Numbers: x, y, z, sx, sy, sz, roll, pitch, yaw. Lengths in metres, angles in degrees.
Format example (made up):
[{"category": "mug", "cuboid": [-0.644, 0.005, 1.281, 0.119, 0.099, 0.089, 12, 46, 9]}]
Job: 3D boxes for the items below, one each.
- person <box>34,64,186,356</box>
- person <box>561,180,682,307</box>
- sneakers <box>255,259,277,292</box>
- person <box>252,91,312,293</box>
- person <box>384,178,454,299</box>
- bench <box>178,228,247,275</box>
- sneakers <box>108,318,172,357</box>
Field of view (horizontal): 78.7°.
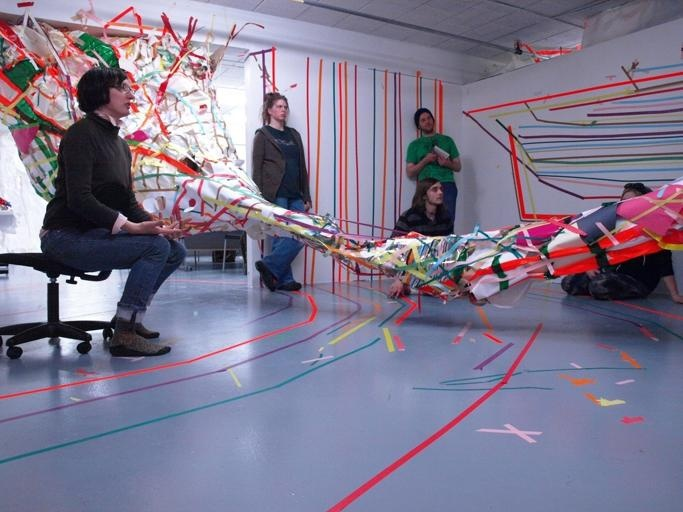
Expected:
[{"category": "person", "cuboid": [-1.127, -0.230, 2.064, 0.610, 1.412, 0.477, -5, 6, -33]}, {"category": "person", "cuboid": [2.153, -0.107, 3.229, 0.804, 0.895, 0.431, 1, 5, 28]}, {"category": "sneakers", "cuboid": [-0.704, 0.185, 3.909, 0.117, 0.299, 0.143, -42, 9, -30]}, {"category": "person", "cuboid": [-0.569, -0.640, 4.011, 0.528, 1.927, 0.528, -2, 5, -2]}, {"category": "person", "cuboid": [0.660, -0.145, 3.452, 0.508, 0.967, 0.806, -1, 4, 12]}, {"category": "bench", "cuboid": [-2.084, -0.164, 6.804, 1.322, 0.476, 0.846, -1, 2, -28]}, {"category": "sneakers", "cuboid": [-0.947, 0.402, 2.037, 0.378, 0.185, 0.138, 1, -1, -17]}]
